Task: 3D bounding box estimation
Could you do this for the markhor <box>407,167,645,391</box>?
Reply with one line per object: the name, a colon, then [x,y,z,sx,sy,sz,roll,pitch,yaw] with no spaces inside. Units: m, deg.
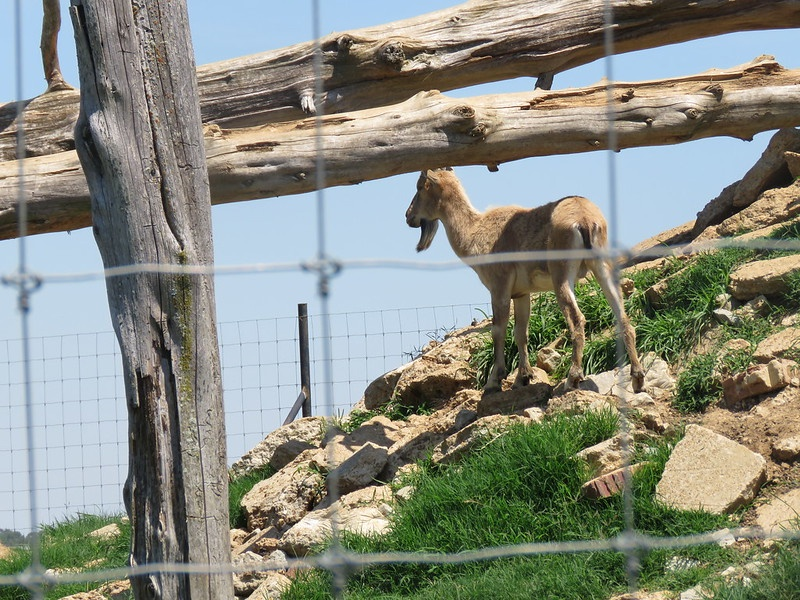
markhor: [1.101,-0.193,17.092,0.740,2.573,2.370,-1,-15,-30]
